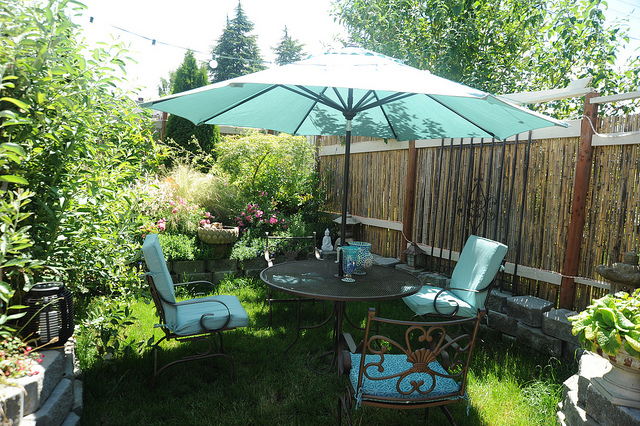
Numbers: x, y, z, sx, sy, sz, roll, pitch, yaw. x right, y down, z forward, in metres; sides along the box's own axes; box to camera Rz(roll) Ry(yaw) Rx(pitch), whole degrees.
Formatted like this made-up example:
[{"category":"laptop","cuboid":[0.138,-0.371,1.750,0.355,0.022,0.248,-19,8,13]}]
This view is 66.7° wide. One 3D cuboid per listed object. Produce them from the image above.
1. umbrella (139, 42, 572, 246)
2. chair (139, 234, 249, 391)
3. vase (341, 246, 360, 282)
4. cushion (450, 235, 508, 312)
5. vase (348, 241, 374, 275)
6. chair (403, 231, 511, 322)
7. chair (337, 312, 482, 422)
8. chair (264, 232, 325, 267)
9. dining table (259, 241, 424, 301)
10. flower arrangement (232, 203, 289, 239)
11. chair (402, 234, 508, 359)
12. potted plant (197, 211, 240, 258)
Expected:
[{"category":"umbrella","cuboid":[0.683,-0.847,6.936,3.597,2.351,3.728,3,-2,23]},{"category":"chair","cuboid":[-1.448,0.962,5.507,1.359,1.511,1.249,2,4,-14]},{"category":"vase","cuboid":[0.284,0.547,5.252,0.238,0.332,0.228,-3,-7,21]},{"category":"cushion","cuboid":[1.822,0.662,5.707,0.292,0.777,0.800,6,6,-7]},{"category":"vase","cuboid":[0.425,0.500,5.443,0.317,0.336,0.288,3,0,-29]},{"category":"chair","cuboid":[1.502,0.894,5.690,1.049,1.176,0.802,-2,8,-11]},{"category":"chair","cuboid":[0.845,1.452,4.534,0.876,1.309,0.843,-1,16,-3]},{"category":"chair","cuboid":[-0.370,0.650,7.416,0.920,0.560,0.526,0,12,-27]},{"category":"dining table","cuboid":[0.229,0.541,5.246,1.684,0.466,1.130,0,10,10]},{"category":"flower arrangement","cuboid":[-1.012,0.124,8.175,0.844,0.568,0.591,-5,12,-38]},{"category":"chair","cuboid":[1.538,0.915,5.699,1.073,1.204,0.844,-1,7,-4]},{"category":"potted plant","cuboid":[-1.493,0.389,7.316,0.665,0.470,0.631,1,-13,-36]}]
